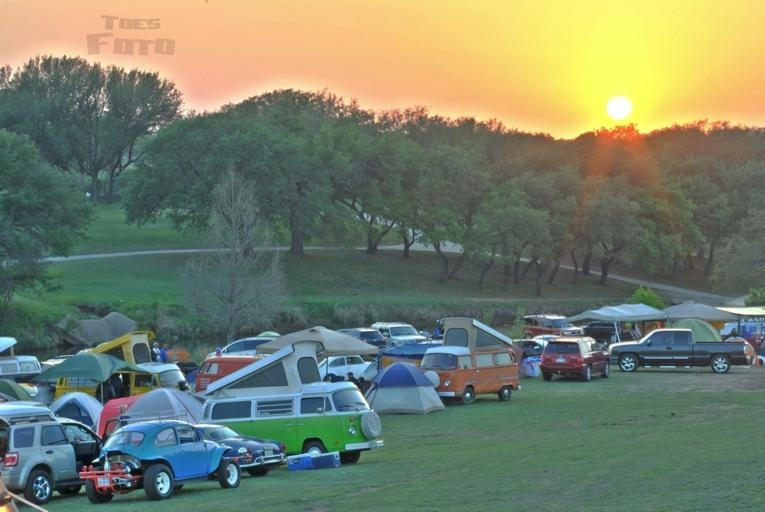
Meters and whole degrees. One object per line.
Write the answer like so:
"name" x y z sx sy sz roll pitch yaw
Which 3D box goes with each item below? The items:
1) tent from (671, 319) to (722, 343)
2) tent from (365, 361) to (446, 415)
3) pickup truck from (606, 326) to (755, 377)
"tent" 21.701 5.089 72.778 2.036 0.868 2.092 4 10 30
"tent" 1.320 7.527 60.581 3.490 3.083 5.965 0 7 13
"pickup truck" 19.650 6.269 70.689 8.717 2.812 3.965 0 -1 12
